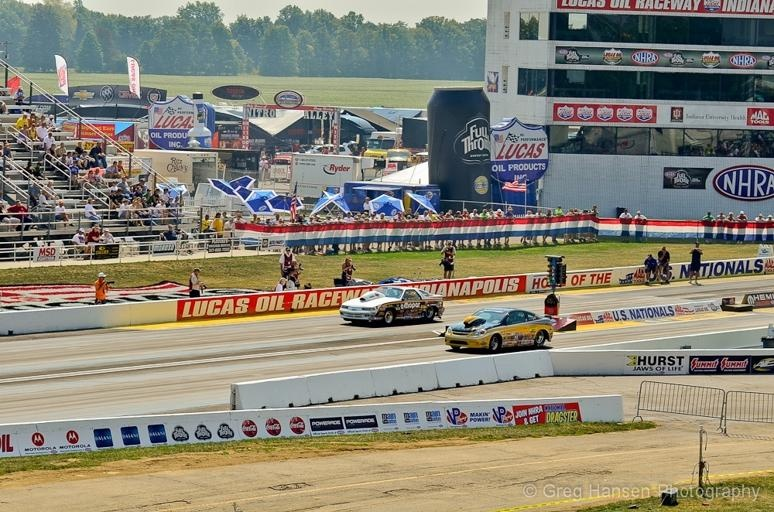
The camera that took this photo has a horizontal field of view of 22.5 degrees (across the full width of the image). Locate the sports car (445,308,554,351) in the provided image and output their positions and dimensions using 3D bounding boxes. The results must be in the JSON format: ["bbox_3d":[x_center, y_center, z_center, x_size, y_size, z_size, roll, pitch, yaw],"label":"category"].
[{"bbox_3d":[7.058,4.506,120.024,7.179,2.250,3.754,-2,5,-42],"label":"sports car"}]

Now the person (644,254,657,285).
[{"bbox_3d":[18.470,1.032,134.419,0.943,1.924,0.523,-2,5,-14],"label":"person"}]

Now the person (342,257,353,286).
[{"bbox_3d":[-2.434,1.066,126.882,0.710,1.821,1.577,-1,4,-1],"label":"person"}]

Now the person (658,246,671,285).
[{"bbox_3d":[19.374,0.707,134.600,0.771,2.574,1.090,-1,4,4],"label":"person"}]

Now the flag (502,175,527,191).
[{"bbox_3d":[9.866,-5.327,147.190,1.643,1.249,3.327,-1,4,-1],"label":"flag"}]
